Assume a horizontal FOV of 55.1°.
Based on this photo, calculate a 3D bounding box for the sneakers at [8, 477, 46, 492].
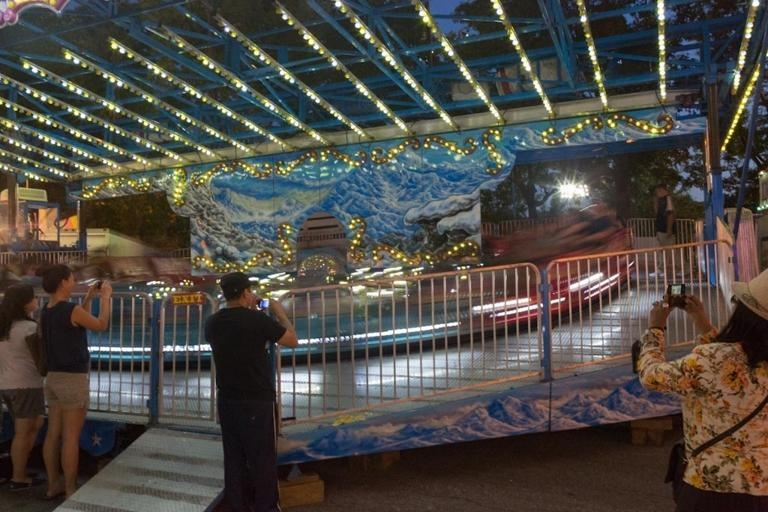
[{"bbox_3d":[-4.264,2.752,8.855,0.429,0.123,0.153,-2,-4,-26],"label":"sneakers"}]

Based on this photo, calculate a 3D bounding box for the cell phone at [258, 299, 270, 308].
[{"bbox_3d":[-1.325,0.527,8.127,0.117,0.106,0.032,0,-4,27],"label":"cell phone"}]

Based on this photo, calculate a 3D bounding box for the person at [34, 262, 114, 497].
[{"bbox_3d":[-3.613,1.456,8.601,0.986,2.716,0.520,-5,-4,38],"label":"person"}]

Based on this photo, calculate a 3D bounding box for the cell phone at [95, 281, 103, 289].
[{"bbox_3d":[-3.317,0.347,8.599,0.075,0.071,0.126,4,6,-23],"label":"cell phone"}]
